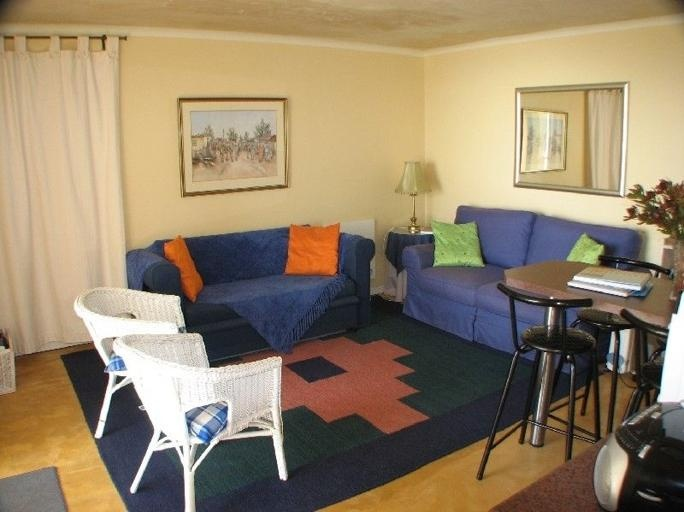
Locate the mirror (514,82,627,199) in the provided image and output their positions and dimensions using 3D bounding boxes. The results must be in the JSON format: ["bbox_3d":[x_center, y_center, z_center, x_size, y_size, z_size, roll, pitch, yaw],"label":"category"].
[{"bbox_3d":[2.210,-1.111,4.972,0.095,1.234,1.441,-8,12,-41],"label":"mirror"}]

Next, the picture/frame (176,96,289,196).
[{"bbox_3d":[-1.128,-1.105,5.154,1.028,0.841,0.047,-9,18,-29],"label":"picture/frame"}]

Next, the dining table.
[{"bbox_3d":[1.376,0.557,2.905,0.663,0.937,0.999,13,16,40],"label":"dining table"}]

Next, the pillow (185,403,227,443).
[{"bbox_3d":[-0.679,0.849,2.679,0.210,0.056,0.206,-16,25,-34],"label":"pillow"}]

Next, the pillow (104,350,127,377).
[{"bbox_3d":[-1.440,0.686,3.303,0.160,0.050,0.162,-3,47,9],"label":"pillow"}]
